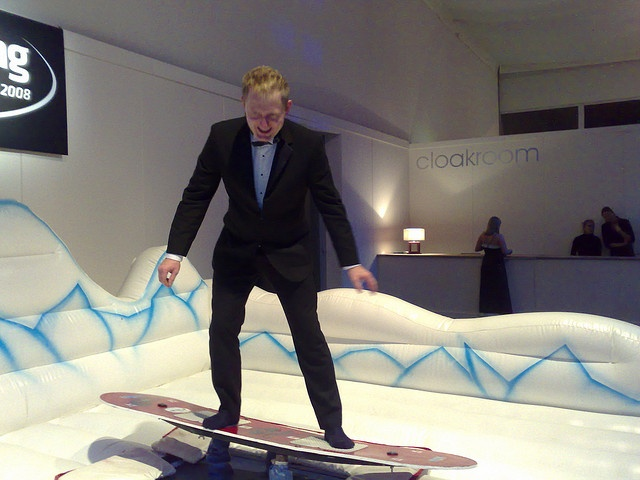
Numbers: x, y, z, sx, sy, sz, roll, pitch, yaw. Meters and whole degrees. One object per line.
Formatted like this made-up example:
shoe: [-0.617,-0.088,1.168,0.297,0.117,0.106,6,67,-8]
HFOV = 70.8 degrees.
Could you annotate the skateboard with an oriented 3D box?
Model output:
skateboard: [-0.162,0.924,2.083,1.215,0.179,0.268,6,0,20]

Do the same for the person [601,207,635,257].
person: [4.966,-0.140,7.484,0.492,0.794,0.639,3,8,34]

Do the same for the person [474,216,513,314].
person: [2.604,0.400,6.693,0.581,1.460,0.508,4,8,40]

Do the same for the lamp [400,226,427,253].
lamp: [1.761,-0.024,8.447,0.429,0.553,0.449,1,5,34]

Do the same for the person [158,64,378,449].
person: [-0.253,0.157,2.038,0.989,1.445,0.359,-1,6,7]
